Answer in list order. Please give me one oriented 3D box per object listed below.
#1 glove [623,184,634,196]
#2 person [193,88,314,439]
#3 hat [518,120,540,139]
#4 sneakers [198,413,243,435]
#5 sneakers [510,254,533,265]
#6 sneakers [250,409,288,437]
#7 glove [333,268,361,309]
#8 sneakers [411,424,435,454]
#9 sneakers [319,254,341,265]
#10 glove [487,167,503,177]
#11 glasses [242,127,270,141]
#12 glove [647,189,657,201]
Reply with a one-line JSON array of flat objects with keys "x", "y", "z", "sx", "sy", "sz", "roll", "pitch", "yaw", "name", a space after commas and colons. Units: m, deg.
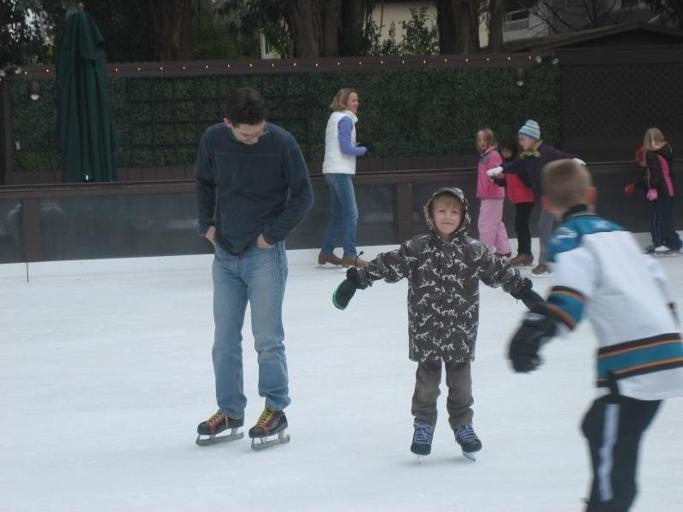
[{"x": 3.782, "y": -0.888, "z": 13.787, "sx": 0.122, "sy": 0.165, "sz": 0.137, "roll": 1, "pitch": 45, "yaw": 3, "name": "glove"}, {"x": -0.617, "y": 0.182, "z": 6.907, "sx": 0.792, "sy": 2.062, "sz": 0.693, "roll": 2, "pitch": 12, "yaw": 9, "name": "person"}, {"x": 2.134, "y": -1.450, "z": 11.911, "sx": 0.205, "sy": 0.225, "sz": 0.544, "roll": 3, "pitch": 13, "yaw": 14, "name": "hat"}, {"x": -0.797, "y": 1.109, "z": 6.954, "sx": 0.314, "sy": 0.147, "sz": 0.115, "roll": 3, "pitch": 2, "yaw": -31, "name": "sneakers"}, {"x": 2.155, "y": 0.045, "z": 12.579, "sx": 0.293, "sy": 0.215, "sz": 0.110, "roll": 0, "pitch": 9, "yaw": 1, "name": "sneakers"}, {"x": -0.463, "y": 1.097, "z": 6.882, "sx": 0.109, "sy": 0.144, "sz": 0.310, "roll": 1, "pitch": 0, "yaw": 34, "name": "sneakers"}, {"x": 0.025, "y": 0.213, "z": 6.549, "sx": 0.103, "sy": 0.314, "sz": 0.119, "roll": 24, "pitch": 2, "yaw": -5, "name": "glove"}, {"x": 0.496, "y": 1.153, "z": 6.544, "sx": 0.081, "sy": 0.100, "sz": 0.252, "roll": 4, "pitch": 32, "yaw": 6, "name": "sneakers"}, {"x": -0.147, "y": 0.040, "z": 12.447, "sx": 0.307, "sy": 0.136, "sz": 0.106, "roll": -3, "pitch": 15, "yaw": 0, "name": "sneakers"}, {"x": 1.755, "y": -0.953, "z": 12.005, "sx": 0.103, "sy": 0.068, "sz": 0.164, "roll": 28, "pitch": 47, "yaw": 30, "name": "glove"}, {"x": -0.549, "y": -0.800, "z": 6.752, "sx": 0.092, "sy": 0.053, "sz": 0.117, "roll": -24, "pitch": 54, "yaw": -11, "name": "glasses"}, {"x": 3.958, "y": -0.778, "z": 13.340, "sx": 0.091, "sy": 0.131, "sz": 0.131, "roll": -1, "pitch": 2, "yaw": -6, "name": "glove"}]
